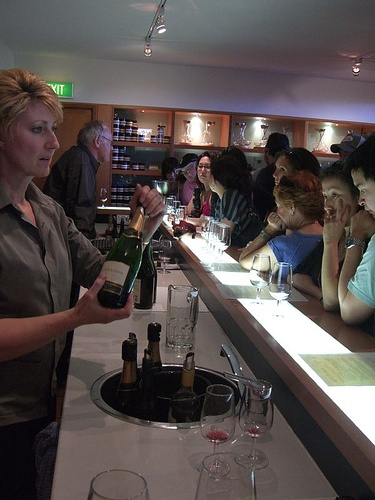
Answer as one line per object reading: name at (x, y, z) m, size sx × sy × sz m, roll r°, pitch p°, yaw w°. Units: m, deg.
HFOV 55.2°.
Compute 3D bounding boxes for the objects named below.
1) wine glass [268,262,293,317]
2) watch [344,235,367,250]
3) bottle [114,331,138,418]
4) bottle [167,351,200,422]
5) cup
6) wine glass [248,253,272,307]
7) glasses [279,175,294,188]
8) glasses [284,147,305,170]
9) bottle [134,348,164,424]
wine glass at (0.311, 0.128, 1.229) m, size 0.069 × 0.175 × 0.206 m, roll 3°, pitch 3°, yaw 13°
watch at (0.625, -0.027, 1.349) m, size 0.061 × 0.042 × 0.064 m, roll 29°, pitch -19°, yaw -33°
bottle at (-0.160, 0.319, 0.970) m, size 0.059 × 0.205 × 0.154 m, roll 2°, pitch 2°, yaw -10°
bottle at (-0.007, 0.328, 0.896) m, size 0.069 × 0.179 × 0.130 m, roll 3°, pitch 2°, yaw 12°
cup at (-0.023, 0.235, 1.318) m, size 0.117 × 0.213 × 0.196 m, roll 3°, pitch 2°, yaw -1°
wine glass at (0.266, 0.104, 1.329) m, size 0.071 × 0.181 × 0.269 m, roll 3°, pitch 3°, yaw 11°
glasses at (0.519, -0.362, 1.896) m, size 0.064 × 0.071 × 0.083 m, roll 0°, pitch 4°, yaw 11°
glasses at (0.707, -0.603, 2.386) m, size 0.110 × 0.138 × 0.143 m, roll -8°, pitch 4°, yaw 1°
bottle at (-0.104, 0.357, 0.972) m, size 0.059 × 0.196 × 0.122 m, roll 2°, pitch 2°, yaw -4°
